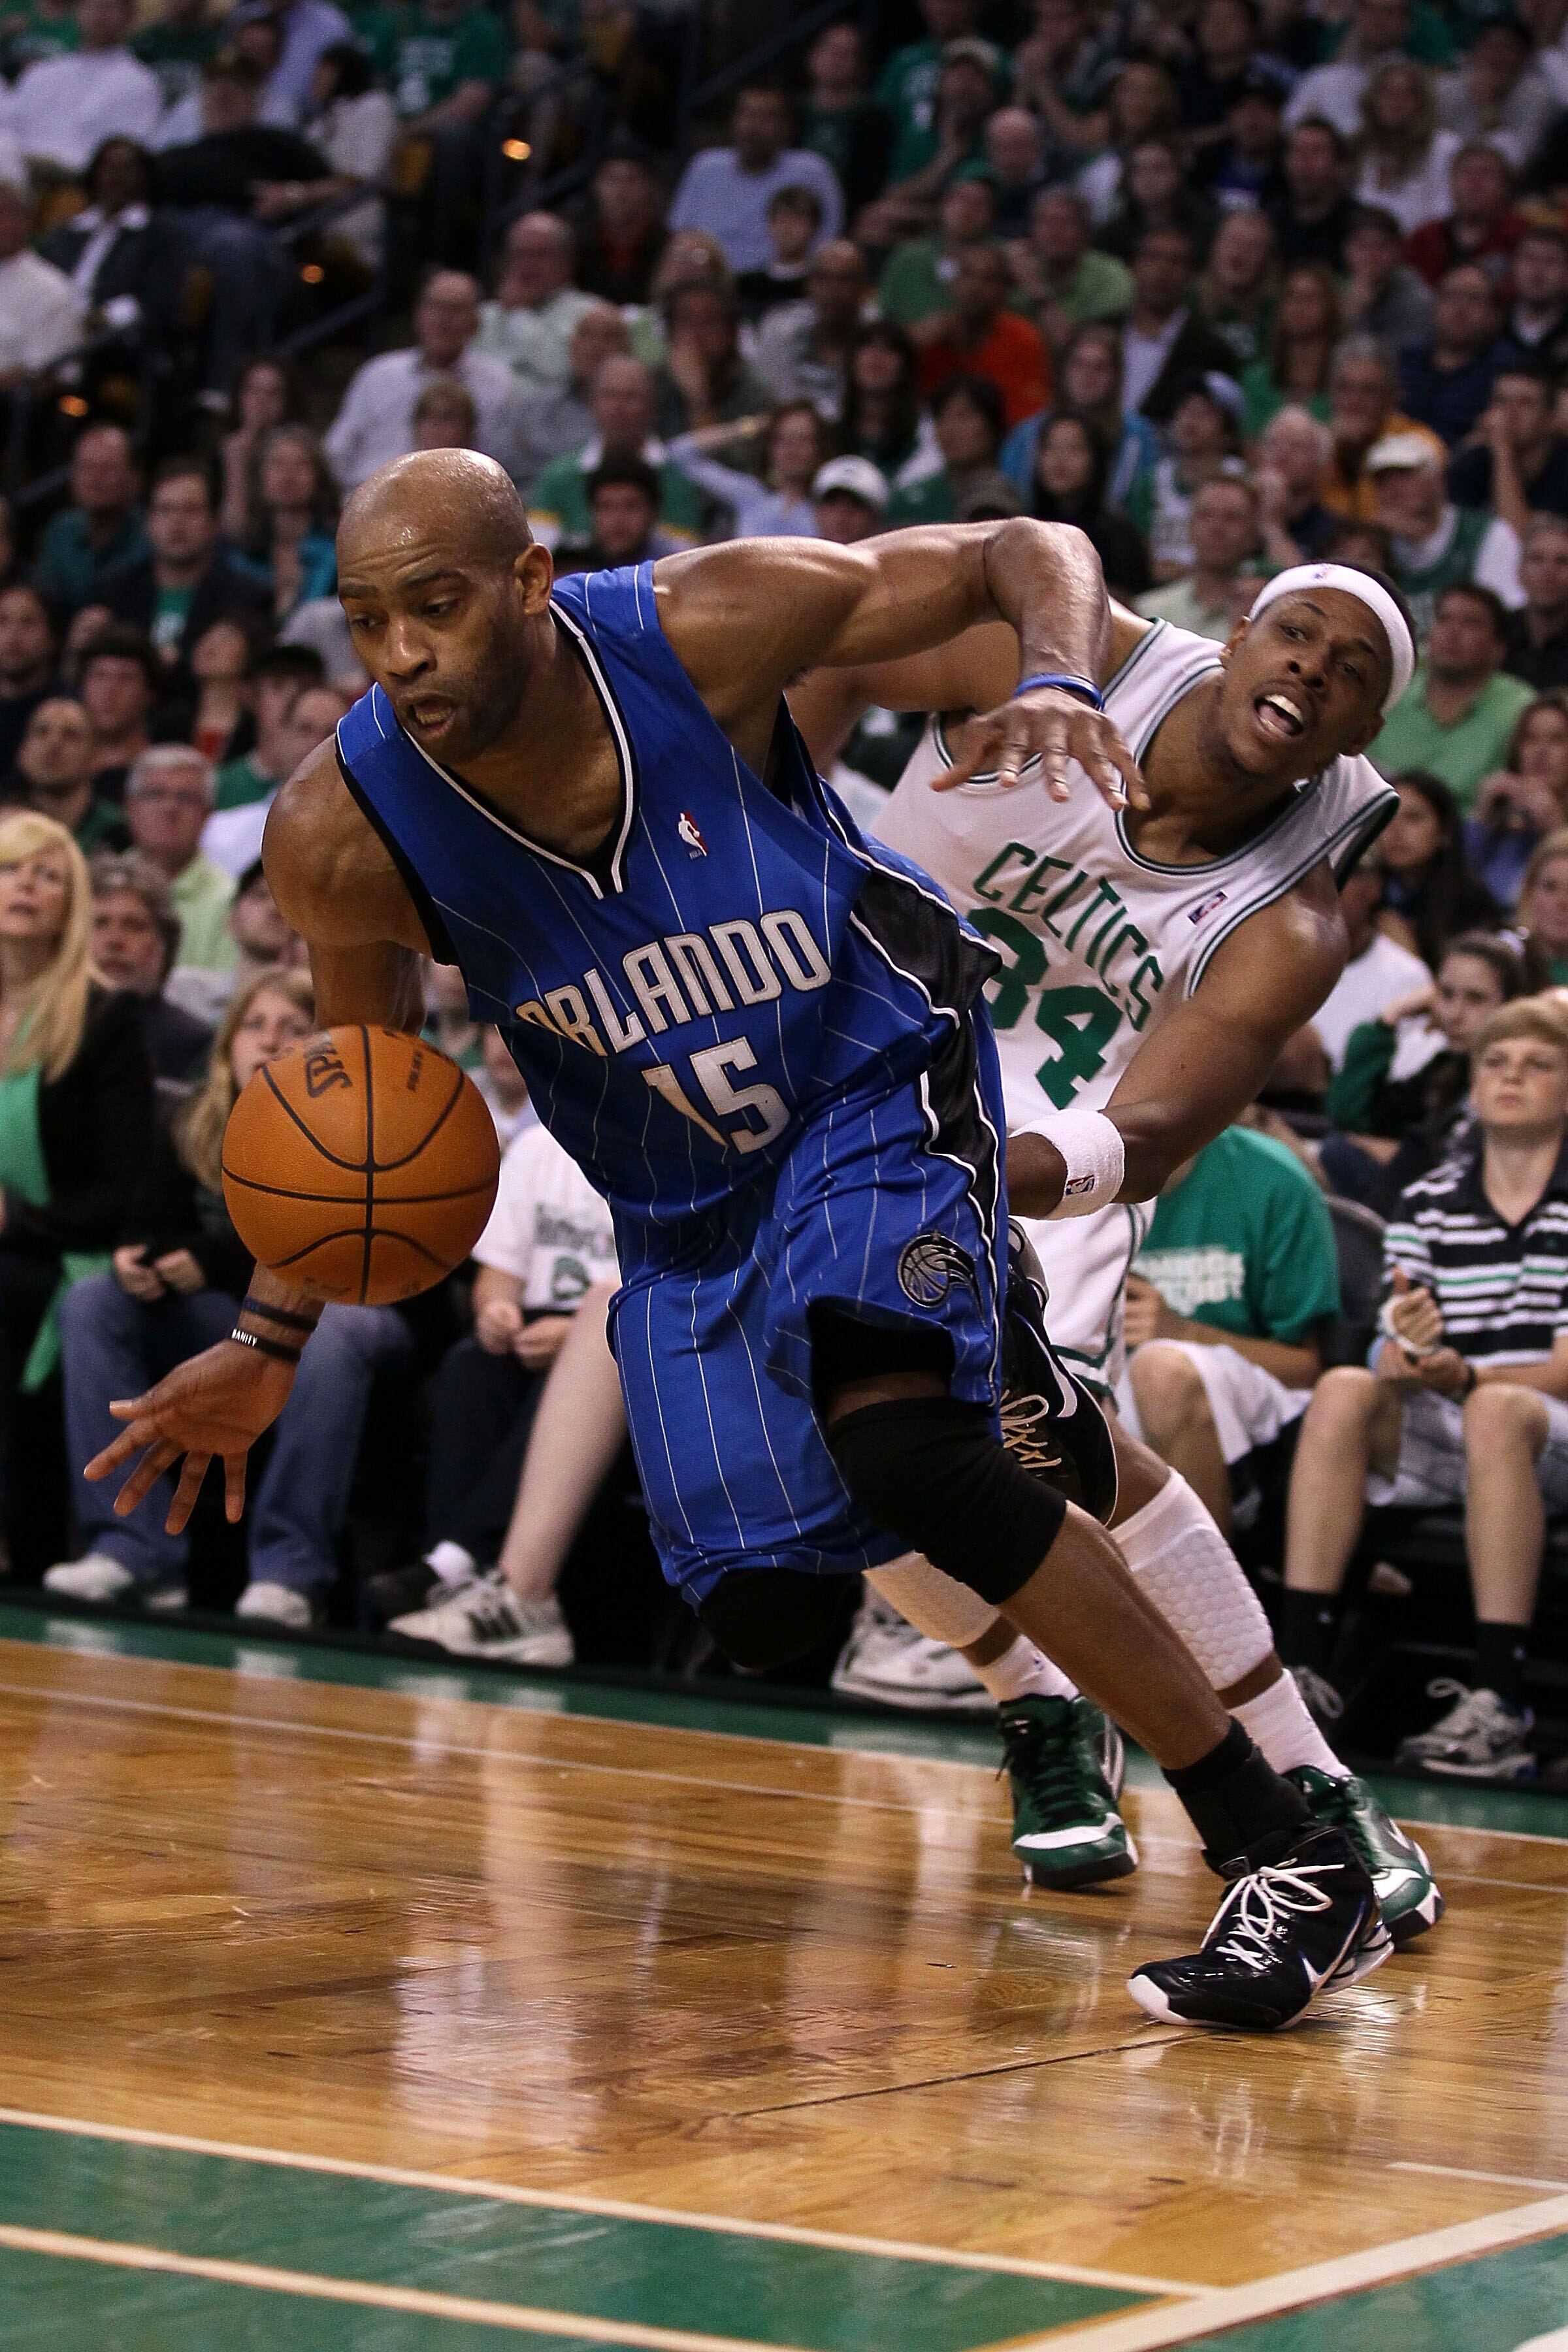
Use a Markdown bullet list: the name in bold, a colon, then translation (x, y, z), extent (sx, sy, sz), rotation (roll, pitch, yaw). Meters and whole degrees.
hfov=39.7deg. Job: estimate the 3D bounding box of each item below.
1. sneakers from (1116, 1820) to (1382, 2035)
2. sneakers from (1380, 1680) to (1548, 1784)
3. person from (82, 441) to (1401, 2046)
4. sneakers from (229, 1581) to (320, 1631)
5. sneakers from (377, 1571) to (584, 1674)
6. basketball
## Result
- **sneakers**: translation (0.456, 0.736, 2.145), extent (0.123, 0.147, 0.331), rotation (-11, -4, 41)
- **sneakers**: translation (1.342, 1.115, 4.320), extent (0.371, 0.172, 0.134), rotation (9, -13, -36)
- **person**: translation (0.022, 0.055, 2.165), extent (1.150, 1.511, 0.495), rotation (8, 25, 28)
- **sneakers**: translation (-1.164, 1.000, 5.004), extent (0.076, 0.094, 0.176), rotation (-2, -5, -33)
- **sneakers**: translation (-0.637, 0.984, 4.748), extent (0.477, 0.205, 0.165), rotation (9, -10, -22)
- **basketball**: translation (-0.425, 0.001, 2.349), extent (0.306, 0.281, 0.297), rotation (16, -20, -12)
